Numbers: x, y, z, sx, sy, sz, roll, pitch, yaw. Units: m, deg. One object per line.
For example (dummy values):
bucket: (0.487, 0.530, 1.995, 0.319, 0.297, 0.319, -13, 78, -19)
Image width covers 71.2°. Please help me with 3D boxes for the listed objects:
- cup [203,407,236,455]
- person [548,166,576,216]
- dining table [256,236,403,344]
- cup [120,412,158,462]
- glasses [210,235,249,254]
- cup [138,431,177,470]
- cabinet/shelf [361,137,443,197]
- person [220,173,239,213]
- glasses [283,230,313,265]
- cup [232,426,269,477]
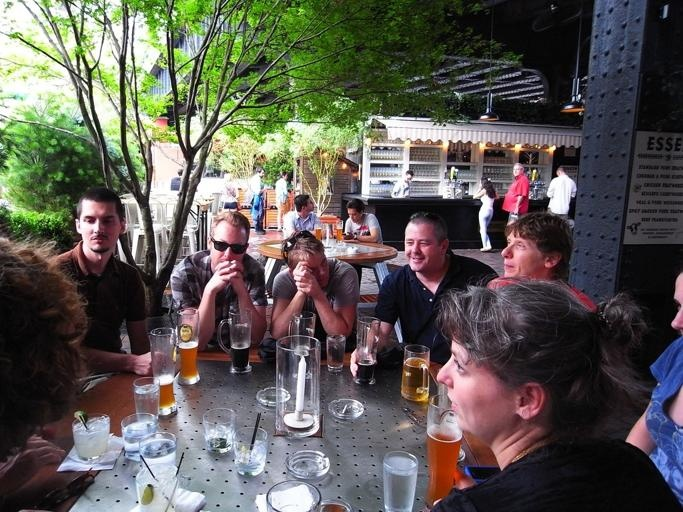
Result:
cup: (-0.408, 0.610, 1.687, 0.136, 0.146, 0.142, 0, -5, 0)
person: (4.887, -1.421, 10.652, 0.564, 1.187, 1.779, 6, 8, 24)
dining table: (-0.067, 0.180, 2.813, 0.507, 0.634, 0.644, -1, -2, 10)
cup: (-0.681, 0.598, 1.611, 0.136, 0.148, 0.144, 2, 1, 0)
glasses: (-0.670, -0.059, 2.848, 0.224, 0.088, 0.147, 2, 7, -2)
cup: (-0.551, 0.597, 1.519, 0.118, 0.126, 0.129, 1, 0, 0)
cabinet/shelf: (1.543, -2.409, 12.730, 1.897, 1.698, 0.553, 0, 3, -12)
person: (-2.743, -1.601, 11.845, 0.379, 0.871, 0.961, 1, 8, -14)
glasses: (-0.257, -0.048, 2.813, 0.183, 0.187, 0.055, -26, 11, -13)
cup: (-0.288, 0.652, 1.604, 0.127, 0.144, 0.140, 2, -3, 0)
